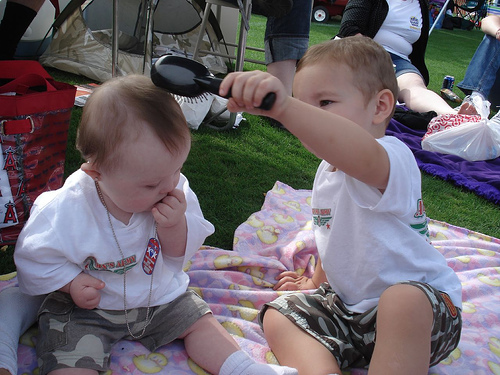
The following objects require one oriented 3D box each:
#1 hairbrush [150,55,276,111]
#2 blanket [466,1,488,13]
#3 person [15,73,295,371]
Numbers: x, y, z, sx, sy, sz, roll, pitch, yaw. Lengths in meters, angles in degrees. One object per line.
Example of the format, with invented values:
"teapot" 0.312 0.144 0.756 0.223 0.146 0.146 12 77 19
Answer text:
"hairbrush" -0.160 -0.280 1.022 0.214 0.091 0.085 24 30 12
"blanket" 6.927 -5.647 12.162 0.309 0.188 0.465 -4 16 -6
"person" -0.280 0.094 1.505 0.871 1.107 0.885 24 28 40
